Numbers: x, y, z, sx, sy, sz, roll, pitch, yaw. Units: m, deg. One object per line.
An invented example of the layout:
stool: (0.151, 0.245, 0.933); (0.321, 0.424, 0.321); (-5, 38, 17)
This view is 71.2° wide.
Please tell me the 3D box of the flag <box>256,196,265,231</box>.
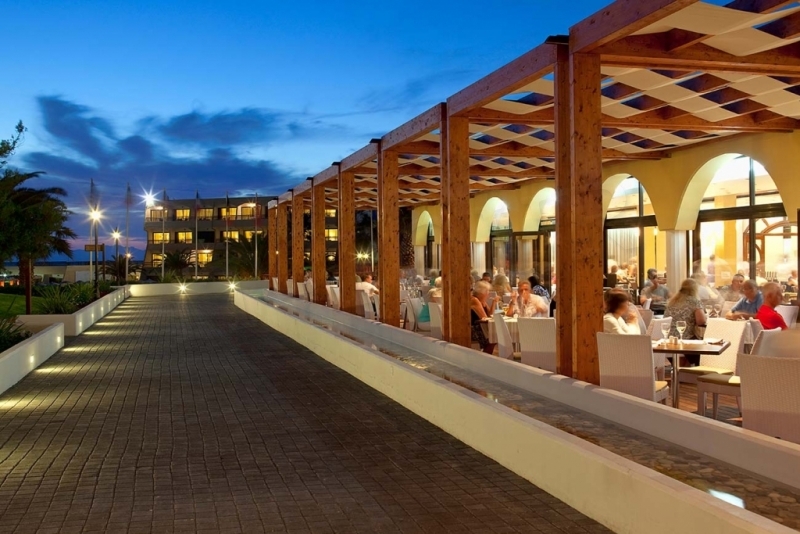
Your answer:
flag: (-18.350, -6.799, 73.574); (1.042, 4.800, 4.152); (-1, 0, -15)

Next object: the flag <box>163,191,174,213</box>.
flag: (-31.672, -8.684, 76.028); (0.776, 2.843, 3.372); (-1, 0, -22)
